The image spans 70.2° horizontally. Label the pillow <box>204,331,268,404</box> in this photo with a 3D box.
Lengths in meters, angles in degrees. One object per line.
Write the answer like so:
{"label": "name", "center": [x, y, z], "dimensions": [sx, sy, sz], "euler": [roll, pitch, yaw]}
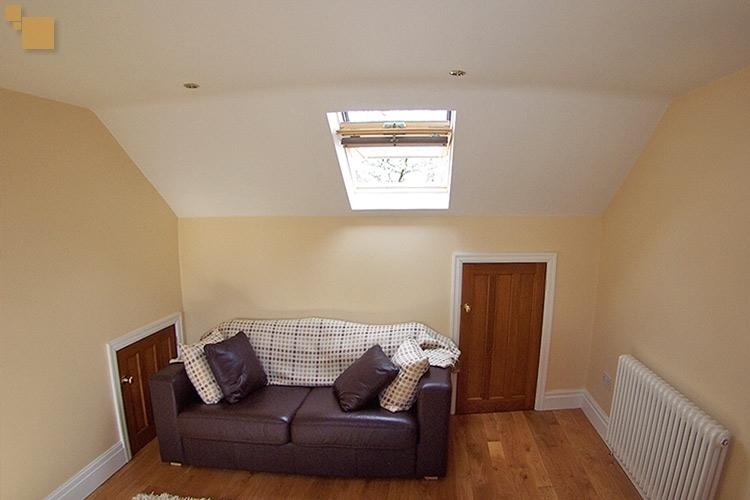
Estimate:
{"label": "pillow", "center": [-1.199, 0.993, 4.570], "dimensions": [0.154, 0.493, 0.513], "euler": [-25, 0, 26]}

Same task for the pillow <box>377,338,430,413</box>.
{"label": "pillow", "center": [0.240, 1.066, 4.429], "dimensions": [0.143, 0.474, 0.461], "euler": [17, 18, -21]}
